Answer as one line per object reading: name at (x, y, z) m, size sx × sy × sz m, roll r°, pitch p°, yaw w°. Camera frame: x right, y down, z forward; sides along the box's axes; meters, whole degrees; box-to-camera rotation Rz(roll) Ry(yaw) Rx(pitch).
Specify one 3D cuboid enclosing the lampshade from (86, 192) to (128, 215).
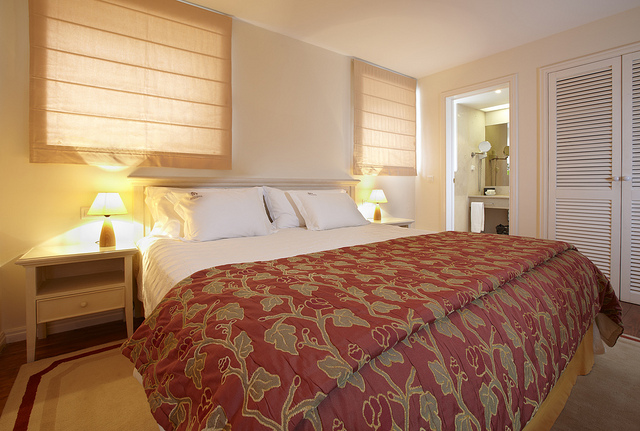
lampshade at (-1.886, -0.129, 3.300) m, size 0.219 × 0.131 × 0.224 m, roll 7°, pitch 9°, yaw 45°

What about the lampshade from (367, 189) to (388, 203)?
lampshade at (0.766, -0.266, 4.936) m, size 0.179 × 0.179 × 0.179 m, roll -6°, pitch 11°, yaw -29°
